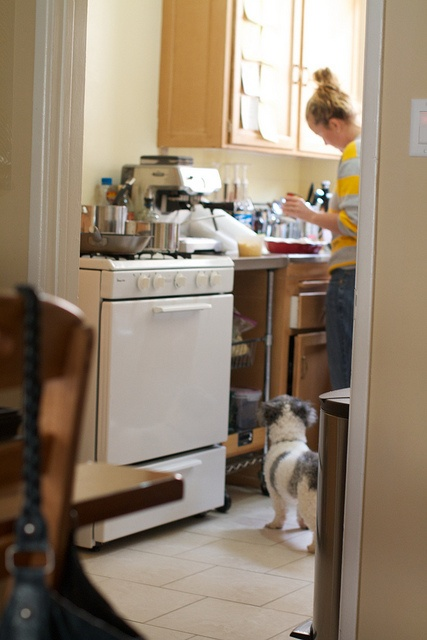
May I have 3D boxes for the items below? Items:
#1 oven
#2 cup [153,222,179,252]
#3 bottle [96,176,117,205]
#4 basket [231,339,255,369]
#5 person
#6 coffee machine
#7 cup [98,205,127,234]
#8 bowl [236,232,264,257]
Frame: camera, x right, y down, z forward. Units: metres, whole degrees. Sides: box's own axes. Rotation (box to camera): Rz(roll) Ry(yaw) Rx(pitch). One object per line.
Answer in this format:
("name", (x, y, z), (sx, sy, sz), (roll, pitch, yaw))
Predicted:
("oven", (-0.409, 0.369, 2.431), (0.805, 1.019, 0.721), (5, -3, -33))
("cup", (-0.200, -0.367, 2.423), (0.117, 0.132, 0.117), (0, 10, 0))
("bottle", (-0.564, -0.686, 2.945), (0.081, 0.136, 0.161), (2, 0, 37))
("basket", (0.147, 0.155, 2.701), (0.102, 0.079, 0.149), (-1, -6, -7))
("person", (0.552, -0.432, 2.530), (0.265, 1.469, 0.624), (2, 0, -9))
("coffee machine", (-0.249, -0.636, 3.187), (0.589, 0.745, 0.480), (1, 6, 18))
("cup", (-0.416, -0.407, 2.241), (0.118, 0.112, 0.103), (-7, 16, -40))
("bowl", (0.183, -0.380, 2.779), (0.122, 0.091, 0.113), (-2, 7, 0))
